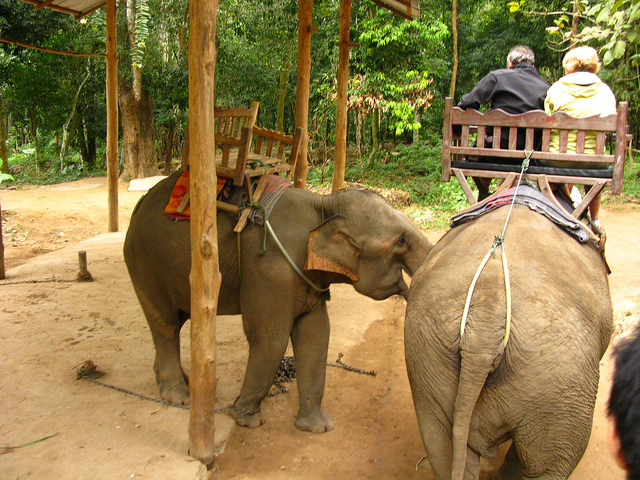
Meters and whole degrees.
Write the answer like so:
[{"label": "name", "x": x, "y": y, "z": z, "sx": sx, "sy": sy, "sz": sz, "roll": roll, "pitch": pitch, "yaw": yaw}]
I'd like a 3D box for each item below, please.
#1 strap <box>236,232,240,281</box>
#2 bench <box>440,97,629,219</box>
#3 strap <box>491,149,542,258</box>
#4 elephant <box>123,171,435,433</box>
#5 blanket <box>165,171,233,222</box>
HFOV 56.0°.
[{"label": "strap", "x": -0.687, "y": 0.104, "z": 5.121, "sx": 0.026, "sy": 0.337, "sz": 0.027, "roll": -5, "pitch": 11, "yaw": -42}, {"label": "bench", "x": 1.740, "y": -0.679, "z": 4.897, "sx": 1.338, "sy": 0.880, "sz": 1.416, "roll": 8, "pitch": 10, "yaw": 28}, {"label": "strap", "x": 1.379, "y": -0.278, "z": 4.283, "sx": 0.284, "sy": 0.090, "sz": 1.118, "roll": 11, "pitch": 55, "yaw": 10}, {"label": "elephant", "x": -0.353, "y": 0.489, "z": 5.919, "sx": 3.113, "sy": 2.834, "sz": 1.547, "roll": 9, "pitch": 32, "yaw": 6}, {"label": "blanket", "x": -1.119, "y": -0.336, "z": 5.398, "sx": 0.435, "sy": 0.527, "sz": 0.175, "roll": 10, "pitch": -11, "yaw": 28}]
